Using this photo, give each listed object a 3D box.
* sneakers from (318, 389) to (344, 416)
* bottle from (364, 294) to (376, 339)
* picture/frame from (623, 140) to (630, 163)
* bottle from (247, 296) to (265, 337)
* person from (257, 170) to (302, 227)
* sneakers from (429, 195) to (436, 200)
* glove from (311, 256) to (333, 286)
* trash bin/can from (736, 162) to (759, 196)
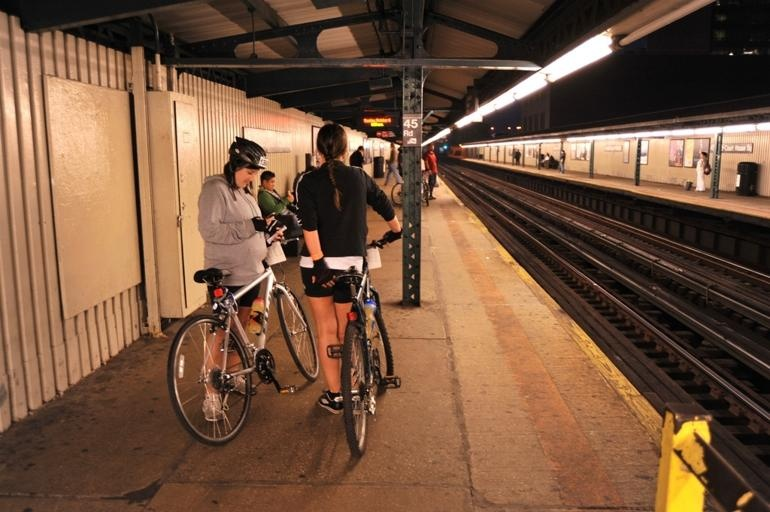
[{"bbox_3d":[-0.541,1.452,6.004,0.169,0.184,0.438,-6,13,-38],"label":"sneakers"},{"bbox_3d":[-0.134,0.600,5.831,0.118,0.386,0.103,-7,-26,17],"label":"bottle"},{"bbox_3d":[13.851,-5.915,33.631,0.345,1.241,1.283,5,13,18],"label":"picture/frame"},{"bbox_3d":[-1.288,0.623,5.972,0.191,0.350,0.124,7,-7,19],"label":"bottle"},{"bbox_3d":[-1.794,-1.001,10.455,0.921,0.930,0.685,5,23,9],"label":"person"},{"bbox_3d":[2.148,-2.512,25.694,0.181,0.213,0.560,0,8,5],"label":"sneakers"},{"bbox_3d":[-0.568,0.145,5.461,0.208,0.231,0.104,2,-4,-5],"label":"glove"},{"bbox_3d":[13.271,-2.799,21.489,0.759,1.213,0.543,11,16,37],"label":"trash bin/can"}]
